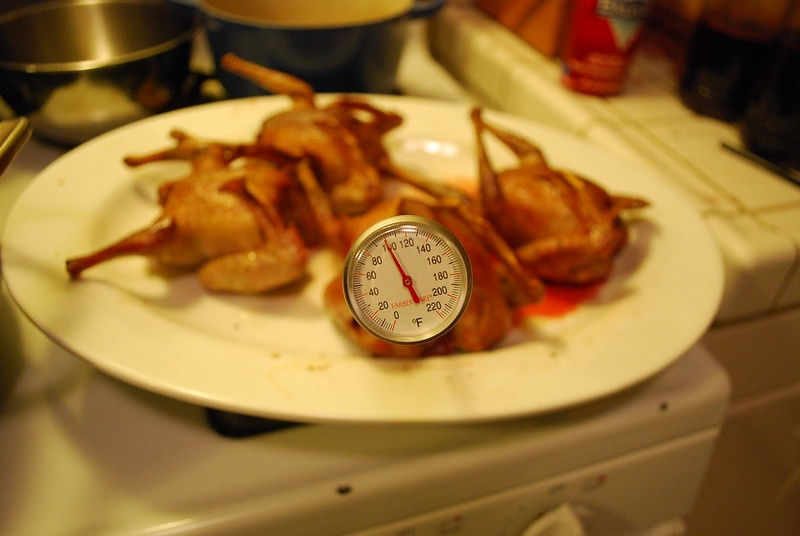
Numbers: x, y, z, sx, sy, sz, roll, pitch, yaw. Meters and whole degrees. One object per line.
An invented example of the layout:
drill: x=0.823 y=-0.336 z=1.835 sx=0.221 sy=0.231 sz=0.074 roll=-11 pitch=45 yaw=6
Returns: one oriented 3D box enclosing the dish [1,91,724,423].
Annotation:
dish: x=-0.026 y=0.044 z=0.705 sx=0.532 sy=0.057 sz=0.398 roll=3 pitch=40 yaw=-4
